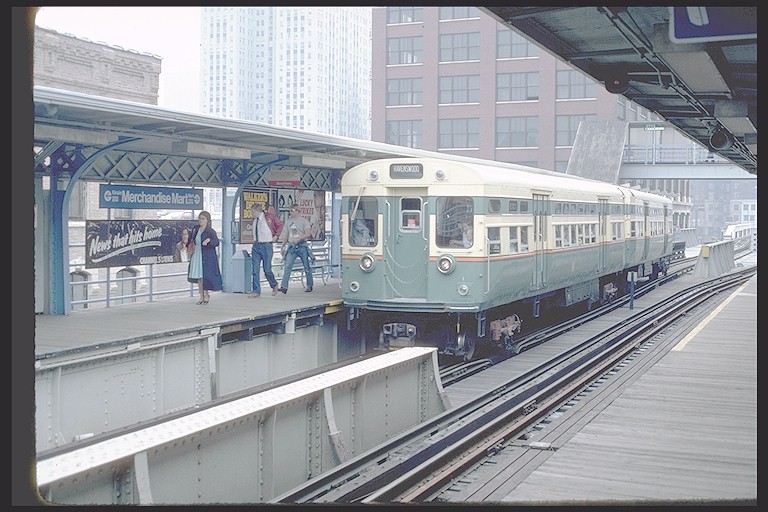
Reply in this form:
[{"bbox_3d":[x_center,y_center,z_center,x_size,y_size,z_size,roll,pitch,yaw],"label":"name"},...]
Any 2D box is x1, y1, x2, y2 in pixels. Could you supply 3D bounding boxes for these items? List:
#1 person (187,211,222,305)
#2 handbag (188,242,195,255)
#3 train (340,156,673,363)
[{"bbox_3d":[-3.928,0.062,14.940,0.663,2.132,0.798,8,10,11],"label":"person"},{"bbox_3d":[-4.172,-0.166,14.950,0.178,0.261,0.092,7,0,38],"label":"handbag"},{"bbox_3d":[4.131,-0.079,19.951,3.476,3.508,13.936,-1,1,31],"label":"train"}]
